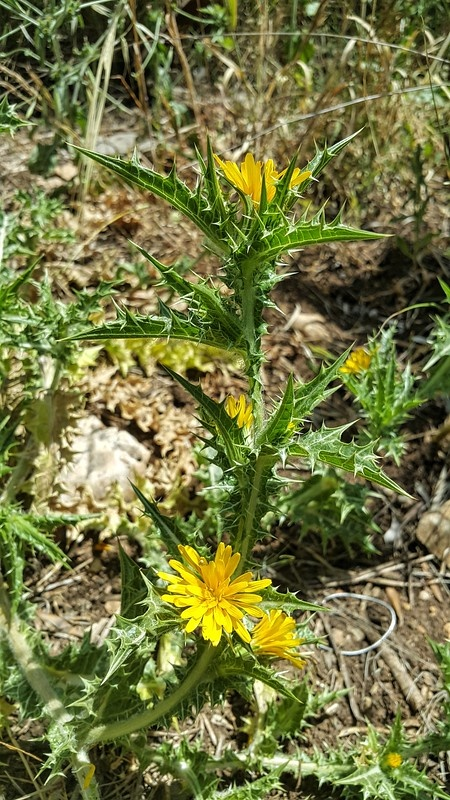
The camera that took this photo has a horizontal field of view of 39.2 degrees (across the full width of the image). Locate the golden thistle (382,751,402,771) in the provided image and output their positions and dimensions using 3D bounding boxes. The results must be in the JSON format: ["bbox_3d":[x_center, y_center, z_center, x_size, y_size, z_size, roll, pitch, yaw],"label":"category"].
[{"bbox_3d":[0.435,0.933,1.636,0.041,0.036,0.042,-1,71,-4],"label":"golden thistle"}]

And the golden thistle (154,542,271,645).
[{"bbox_3d":[-0.023,0.371,1.231,0.207,0.165,0.173,32,72,7],"label":"golden thistle"}]

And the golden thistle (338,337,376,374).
[{"bbox_3d":[0.441,-0.150,2.137,0.066,0.090,0.089,36,48,3],"label":"golden thistle"}]

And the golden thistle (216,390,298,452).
[{"bbox_3d":[0.048,0.041,1.427,0.113,0.108,0.058,17,79,19],"label":"golden thistle"}]

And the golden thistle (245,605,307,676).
[{"bbox_3d":[0.110,0.519,1.371,0.081,0.150,0.150,-37,114,15],"label":"golden thistle"}]

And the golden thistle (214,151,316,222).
[{"bbox_3d":[0.072,-0.386,1.158,0.136,0.139,0.070,7,98,-11],"label":"golden thistle"}]
